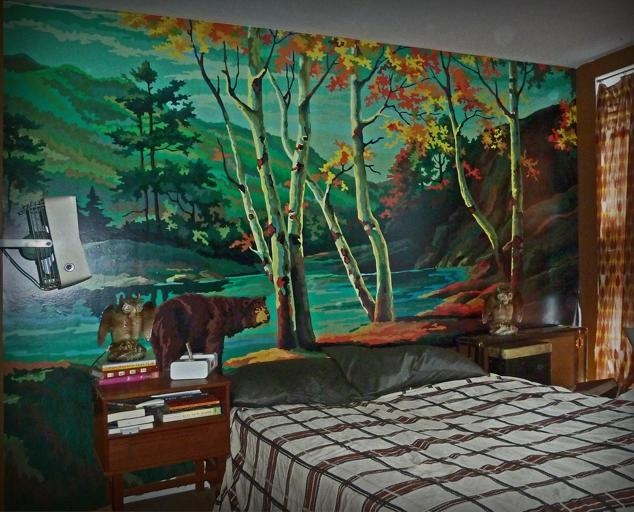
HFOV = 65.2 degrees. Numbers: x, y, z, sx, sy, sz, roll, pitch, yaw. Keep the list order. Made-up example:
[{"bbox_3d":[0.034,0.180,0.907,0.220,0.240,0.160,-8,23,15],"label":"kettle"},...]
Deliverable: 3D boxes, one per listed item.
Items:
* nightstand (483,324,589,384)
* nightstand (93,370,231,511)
[{"bbox_3d":[1.855,0.848,4.246,0.715,0.518,0.248,0,-2,-23],"label":"nightstand"},{"bbox_3d":[-0.958,1.164,3.156,0.807,0.817,0.452,-6,6,-24],"label":"nightstand"}]
